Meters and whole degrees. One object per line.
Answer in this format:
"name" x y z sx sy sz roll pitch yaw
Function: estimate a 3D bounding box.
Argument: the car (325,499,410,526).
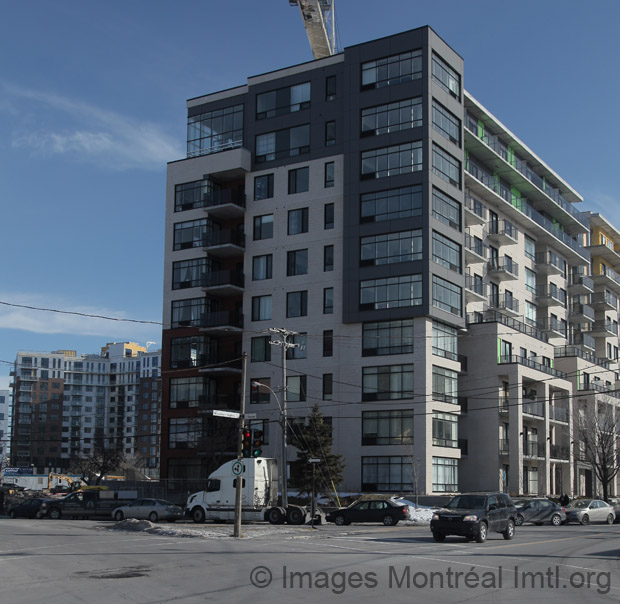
"car" 2.955 10.533 55.921 3.529 1.053 1.407 1 -8 10
